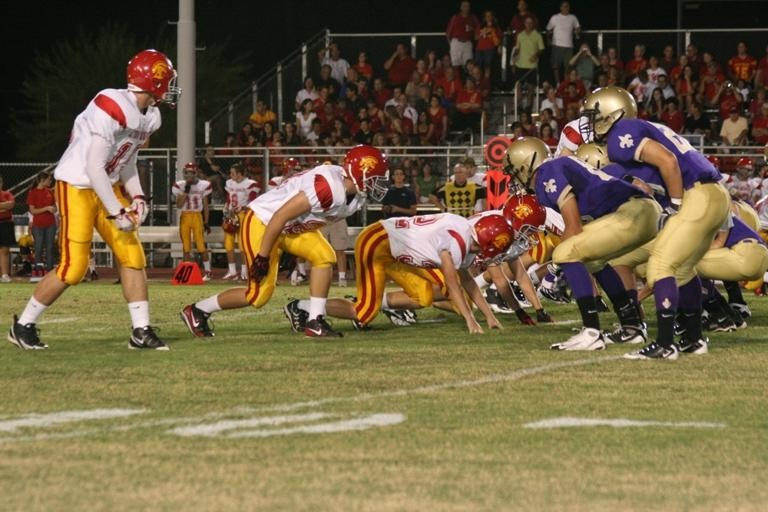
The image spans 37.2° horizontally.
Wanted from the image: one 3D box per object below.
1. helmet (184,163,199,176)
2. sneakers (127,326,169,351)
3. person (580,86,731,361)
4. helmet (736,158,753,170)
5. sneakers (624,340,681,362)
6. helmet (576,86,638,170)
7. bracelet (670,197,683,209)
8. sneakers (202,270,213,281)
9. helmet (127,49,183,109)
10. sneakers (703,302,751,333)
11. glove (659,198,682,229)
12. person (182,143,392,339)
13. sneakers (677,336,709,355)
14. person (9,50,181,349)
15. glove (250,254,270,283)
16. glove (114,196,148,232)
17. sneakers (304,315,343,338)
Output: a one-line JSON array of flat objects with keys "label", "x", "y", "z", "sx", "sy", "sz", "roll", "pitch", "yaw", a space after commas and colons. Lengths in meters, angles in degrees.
[{"label": "helmet", "x": -2.937, "y": -1.288, "z": 17.125, "sx": 0.187, "sy": 0.170, "sz": 0.227, "roll": 0, "pitch": -2, "yaw": -6}, {"label": "sneakers", "x": -1.998, "y": 0.683, "z": 9.520, "sx": 0.394, "sy": 0.152, "sz": 0.152, "roll": 2, "pitch": 2, "yaw": 20}, {"label": "person", "x": 2.208, "y": -0.248, "z": 9.149, "sx": 1.041, "sy": 2.122, "sz": 0.909, "roll": 4, "pitch": 15, "yaw": 21}, {"label": "helmet", "x": 5.208, "y": -1.303, "z": 16.283, "sx": 0.270, "sy": 0.179, "sz": 0.179, "roll": -4, "pitch": 2, "yaw": 20}, {"label": "sneakers", "x": 2.156, "y": 0.758, "z": 9.063, "sx": 0.466, "sy": 0.146, "sz": 0.152, "roll": 2, "pitch": -5, "yaw": 4}, {"label": "helmet", "x": 1.819, "y": -1.155, "z": 9.533, "sx": 0.590, "sy": 0.580, "sz": 0.482, "roll": 0, "pitch": 14, "yaw": 17}, {"label": "bracelet", "x": 2.341, "y": -0.402, "z": 9.057, "sx": 0.090, "sy": 0.069, "sz": 0.072, "roll": 2, "pitch": 6, "yaw": 39}, {"label": "sneakers", "x": -2.653, "y": 0.315, "z": 16.960, "sx": 0.087, "sy": 0.148, "sz": 0.238, "roll": 0, "pitch": -5, "yaw": -5}, {"label": "helmet", "x": -1.948, "y": -1.479, "z": 9.606, "sx": 0.533, "sy": 0.439, "sz": 0.398, "roll": -4, "pitch": 13, "yaw": -27}, {"label": "sneakers", "x": 3.128, "y": 0.575, "z": 10.419, "sx": 0.532, "sy": 0.205, "sz": 0.181, "roll": 3, "pitch": -3, "yaw": -8}, {"label": "glove", "x": 2.301, "y": -0.313, "z": 9.316, "sx": 0.133, "sy": 0.310, "sz": 0.097, "roll": 1, "pitch": 36, "yaw": -49}, {"label": "person", "x": -0.831, "y": -0.095, "z": 9.885, "sx": 1.726, "sy": 1.645, "sz": 0.504, "roll": -1, "pitch": 14, "yaw": -1}, {"label": "sneakers", "x": 2.541, "y": 0.725, "z": 9.260, "sx": 0.114, "sy": 0.114, "sz": 0.301, "roll": -7, "pitch": 8, "yaw": -41}, {"label": "person", "x": -2.409, "y": -0.427, "z": 9.458, "sx": 1.478, "sy": 2.453, "sz": 0.826, "roll": -4, "pitch": 15, "yaw": -12}, {"label": "glove", "x": -1.072, "y": 0.102, "z": 9.719, "sx": 0.166, "sy": 0.252, "sz": 0.109, "roll": -5, "pitch": 15, "yaw": -17}, {"label": "glove", "x": -2.129, "y": -0.346, "z": 9.419, "sx": 0.242, "sy": 0.248, "sz": 0.429, "roll": 1, "pitch": 13, "yaw": 10}, {"label": "sneakers", "x": -0.499, "y": 0.628, "z": 10.137, "sx": 0.425, "sy": 0.162, "sz": 0.135, "roll": 3, "pitch": 4, "yaw": 0}]
